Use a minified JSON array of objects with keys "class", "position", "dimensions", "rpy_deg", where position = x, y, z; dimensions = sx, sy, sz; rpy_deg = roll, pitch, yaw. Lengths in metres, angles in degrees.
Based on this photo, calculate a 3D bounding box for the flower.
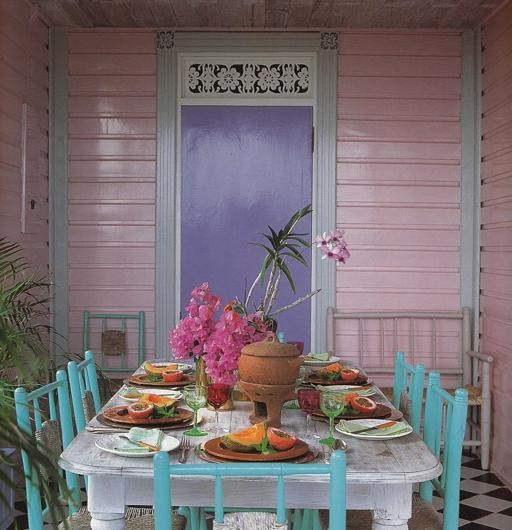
[{"class":"flower","position":[0.010,0.168,2.160],"dimensions":[1.069,0.978,0.369],"rpy_deg":[1,3,3]}]

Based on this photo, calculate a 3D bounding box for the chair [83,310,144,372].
[{"class":"chair","position":[-1.032,0.541,3.746],"dimensions":[0.423,0.450,0.187],"rpy_deg":[0,5,-4]}]
